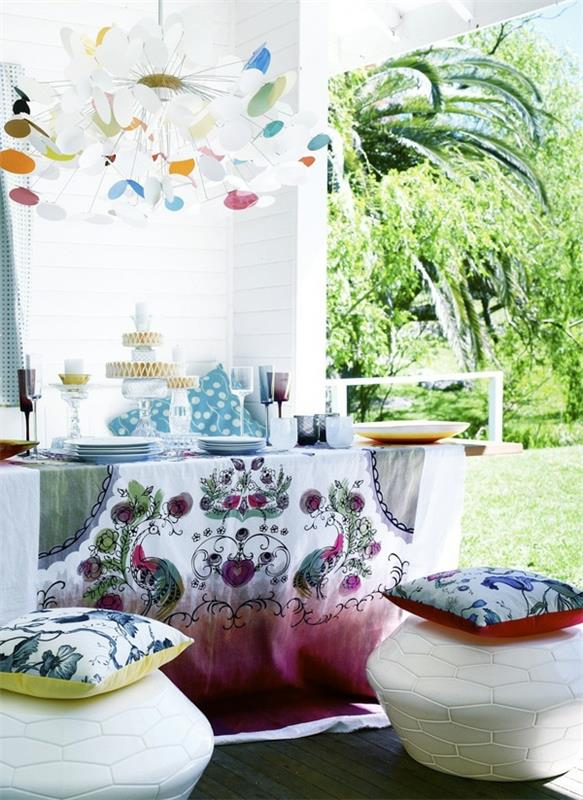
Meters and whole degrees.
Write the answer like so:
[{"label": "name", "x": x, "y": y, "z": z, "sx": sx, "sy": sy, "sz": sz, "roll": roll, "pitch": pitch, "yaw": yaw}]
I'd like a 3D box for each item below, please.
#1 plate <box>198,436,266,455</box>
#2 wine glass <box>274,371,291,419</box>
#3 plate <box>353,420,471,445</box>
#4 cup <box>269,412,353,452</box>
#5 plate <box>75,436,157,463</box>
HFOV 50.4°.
[{"label": "plate", "x": -0.159, "y": 0.133, "z": 1.819, "sx": 0.171, "sy": 0.055, "sz": 0.237, "roll": -3, "pitch": -3, "yaw": 23}, {"label": "wine glass", "x": -0.030, "y": -0.013, "z": 1.910, "sx": 0.048, "sy": 0.141, "sz": 0.134, "roll": -2, "pitch": -3, "yaw": -1}, {"label": "plate", "x": 0.408, "y": 0.116, "z": 2.170, "sx": 0.370, "sy": 0.080, "sz": 0.225, "roll": -2, "pitch": -3, "yaw": 6}, {"label": "cup", "x": 0.056, "y": 0.103, "z": 1.978, "sx": 0.192, "sy": 0.068, "sz": 0.133, "roll": -2, "pitch": 1, "yaw": -10}, {"label": "plate", "x": -0.443, "y": 0.133, "z": 1.570, "sx": 0.216, "sy": 0.054, "sz": 0.150, "roll": -1, "pitch": -3, "yaw": -13}]
